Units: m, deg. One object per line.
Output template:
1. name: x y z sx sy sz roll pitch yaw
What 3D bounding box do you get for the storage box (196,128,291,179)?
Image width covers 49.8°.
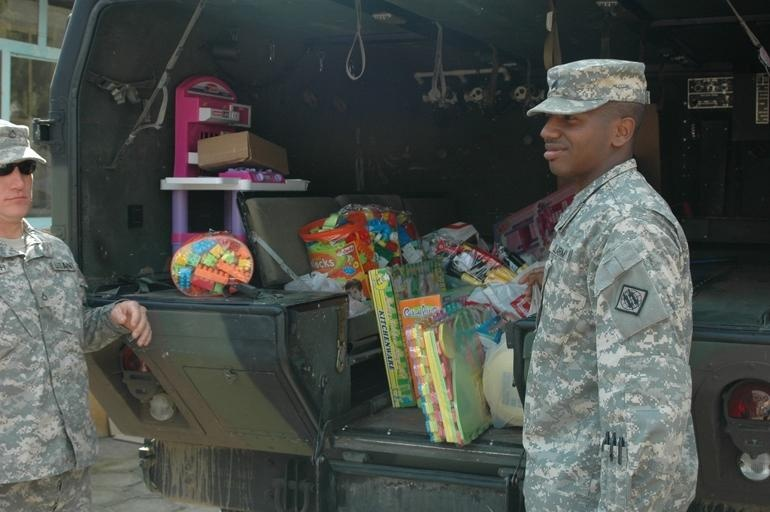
1. storage box: -0.734 -0.545 4.375 0.532 0.192 0.312 -1 3 -25

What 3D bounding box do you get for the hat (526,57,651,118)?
1. hat: 0.651 -0.530 2.585 0.281 0.099 0.195 -11 11 -29

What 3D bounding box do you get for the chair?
1. chair: -0.216 0.119 4.144 0.427 0.401 0.942 1 7 33
